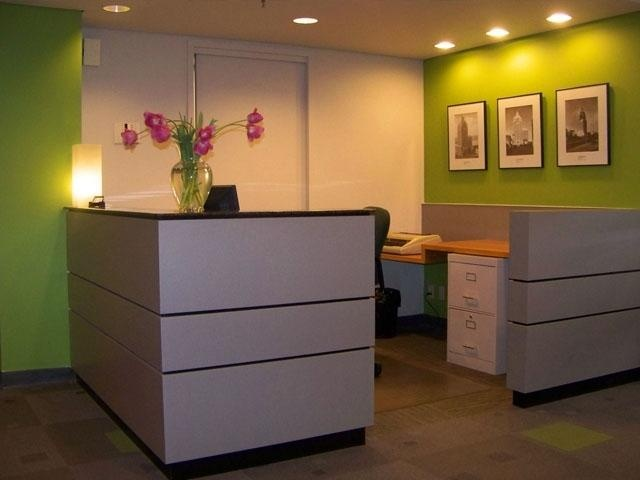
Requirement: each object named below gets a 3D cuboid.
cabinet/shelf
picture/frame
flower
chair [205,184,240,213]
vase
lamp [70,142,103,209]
[{"bbox_3d":[1.298,0.596,4.443,0.186,0.965,0.553,-9,12,-41],"label":"cabinet/shelf"},{"bbox_3d":[1.939,-1.052,5.083,0.099,0.732,1.587,-10,12,-42],"label":"picture/frame"},{"bbox_3d":[-1.098,-0.701,4.320,1.042,0.801,1.060,0,1,40],"label":"flower"},{"bbox_3d":[-0.621,-0.266,3.333,0.134,0.193,0.268,3,-3,-25],"label":"chair"},{"bbox_3d":[-0.778,-0.342,3.223,0.233,0.323,0.285,-4,10,-16],"label":"vase"},{"bbox_3d":[-1.868,-0.521,4.222,0.238,0.485,0.123,-3,9,-13],"label":"lamp"}]
